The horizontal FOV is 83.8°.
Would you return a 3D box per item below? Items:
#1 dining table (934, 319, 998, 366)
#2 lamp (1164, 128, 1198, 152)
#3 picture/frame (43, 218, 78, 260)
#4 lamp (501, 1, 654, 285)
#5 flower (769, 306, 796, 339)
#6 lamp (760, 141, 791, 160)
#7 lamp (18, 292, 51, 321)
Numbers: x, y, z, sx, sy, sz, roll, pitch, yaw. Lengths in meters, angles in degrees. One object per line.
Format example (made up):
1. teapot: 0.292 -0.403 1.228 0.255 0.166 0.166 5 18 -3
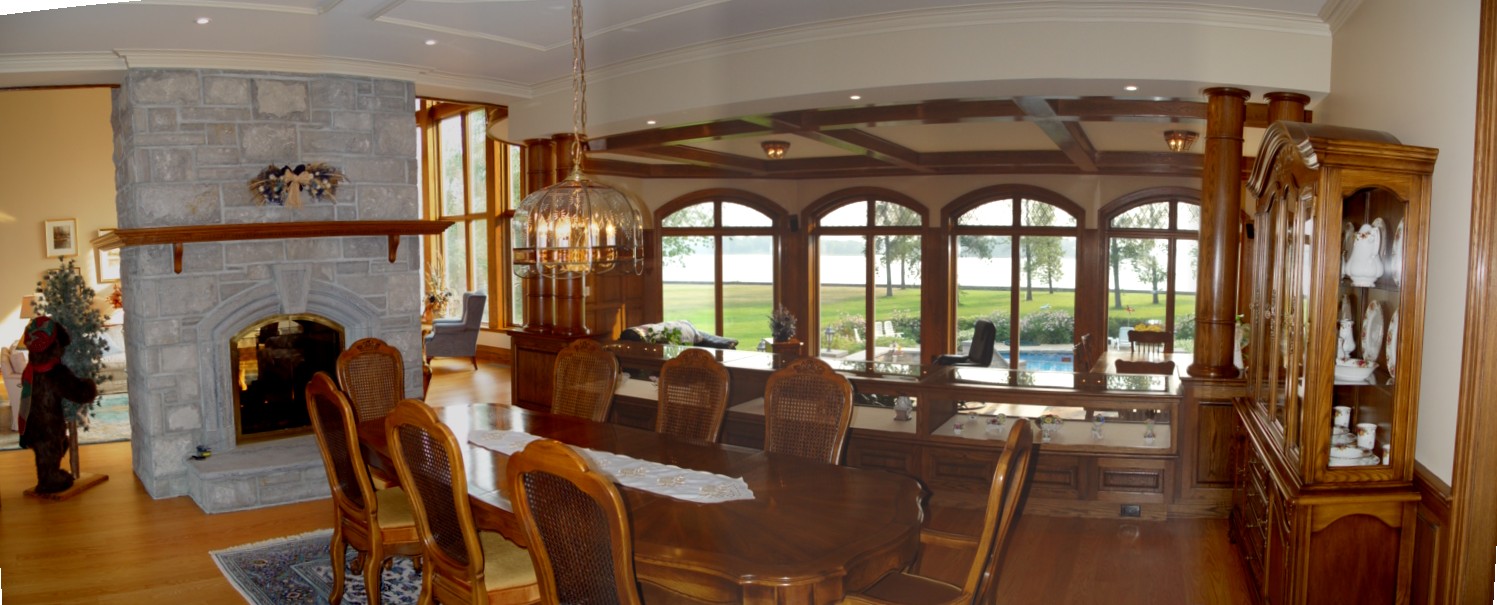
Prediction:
1. dining table: 4.066 0.736 14.945 1.526 0.911 0.915 0 3 -5
2. lamp: 6.704 -2.485 12.853 0.474 0.229 0.442 1 1 32
3. picture/frame: -12.832 -1.185 15.364 0.472 0.682 0.144 -1 2 -31
4. lamp: -2.125 -1.950 9.739 1.383 3.274 1.651 -1 2 -27
5. flower: 0.513 0.435 16.142 0.743 0.583 0.626 1 6 14
6. lamp: 0.445 -2.543 13.942 0.377 0.146 0.310 0 4 -8
7. lamp: -11.298 0.086 13.040 0.711 0.386 0.653 -1 2 -35
